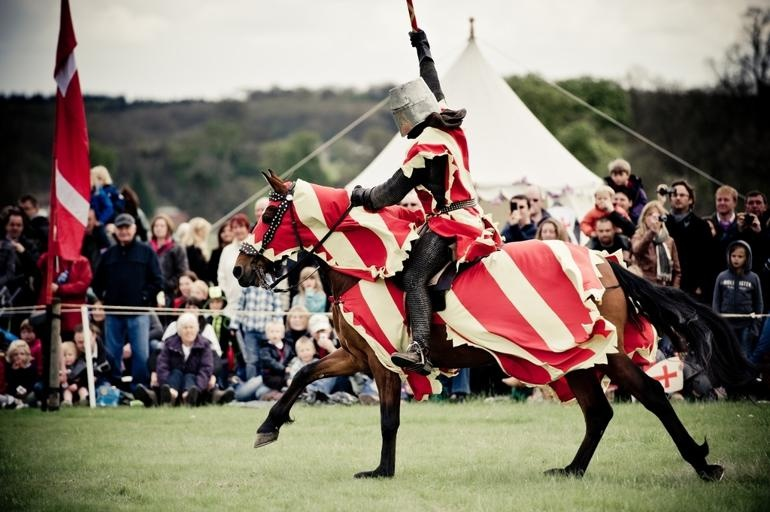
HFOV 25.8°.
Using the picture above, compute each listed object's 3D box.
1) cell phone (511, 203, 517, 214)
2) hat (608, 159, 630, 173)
[{"bbox_3d":[2.140,-0.805,28.166,0.121,0.139,0.129,4,6,12],"label":"cell phone"},{"bbox_3d":[3.937,-1.522,28.423,0.262,0.213,0.275,1,-4,4],"label":"hat"}]
